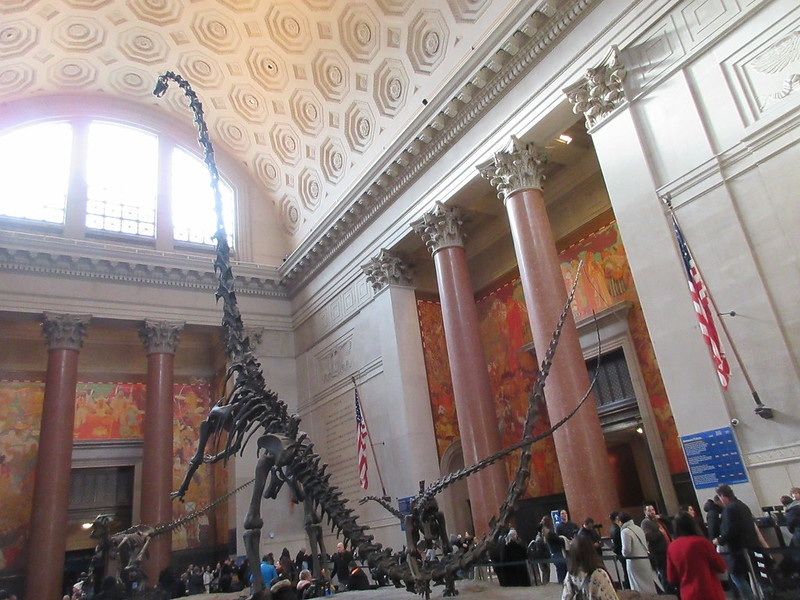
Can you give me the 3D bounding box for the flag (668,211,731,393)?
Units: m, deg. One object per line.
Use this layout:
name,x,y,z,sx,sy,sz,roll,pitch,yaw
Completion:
flag,3.377,-0.133,5.694,0.183,2.192,0.614,-18,-26,31
